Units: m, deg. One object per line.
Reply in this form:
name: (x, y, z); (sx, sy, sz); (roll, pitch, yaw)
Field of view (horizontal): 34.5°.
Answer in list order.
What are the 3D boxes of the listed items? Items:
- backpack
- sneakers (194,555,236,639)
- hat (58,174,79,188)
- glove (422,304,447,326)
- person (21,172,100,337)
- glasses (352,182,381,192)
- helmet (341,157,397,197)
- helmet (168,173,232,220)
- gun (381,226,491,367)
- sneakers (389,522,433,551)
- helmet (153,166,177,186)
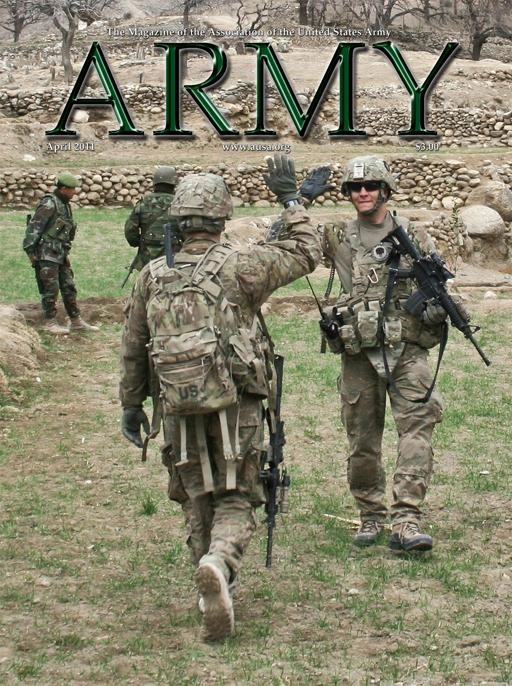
backpack: (-0.268, -0.053, 3.586); (0.400, 0.739, 0.441); (-4, 6, -2)
sneakers: (-0.160, 1.053, 3.329); (0.154, 0.331, 0.183); (-3, 4, 0)
hat: (-2.283, -1.951, 10.015); (0.245, 0.158, 0.357); (-4, 5, -12)
glove: (0.999, -0.154, 4.634); (0.139, 0.088, 0.141); (-3, 4, 44)
person: (-2.480, -1.073, 10.320); (0.775, 1.962, 0.841); (-5, 6, -9)
glasses: (0.632, -0.897, 4.767); (0.095, 0.025, 0.082); (-1, -28, 12)
helmet: (0.655, -0.956, 4.820); (0.264, 0.136, 0.246); (0, 7, 14)
helmet: (-0.242, -0.676, 3.863); (0.290, 0.229, 0.329); (7, 29, 9)
gun: (0.986, -0.306, 4.642); (0.503, 0.726, 0.232); (-3, 6, 10)
sneakers: (0.806, 1.033, 4.363); (0.117, 0.112, 0.271); (5, -14, -28)
helmet: (-0.932, -1.726, 8.582); (0.227, 0.174, 0.249); (2, 18, 7)
